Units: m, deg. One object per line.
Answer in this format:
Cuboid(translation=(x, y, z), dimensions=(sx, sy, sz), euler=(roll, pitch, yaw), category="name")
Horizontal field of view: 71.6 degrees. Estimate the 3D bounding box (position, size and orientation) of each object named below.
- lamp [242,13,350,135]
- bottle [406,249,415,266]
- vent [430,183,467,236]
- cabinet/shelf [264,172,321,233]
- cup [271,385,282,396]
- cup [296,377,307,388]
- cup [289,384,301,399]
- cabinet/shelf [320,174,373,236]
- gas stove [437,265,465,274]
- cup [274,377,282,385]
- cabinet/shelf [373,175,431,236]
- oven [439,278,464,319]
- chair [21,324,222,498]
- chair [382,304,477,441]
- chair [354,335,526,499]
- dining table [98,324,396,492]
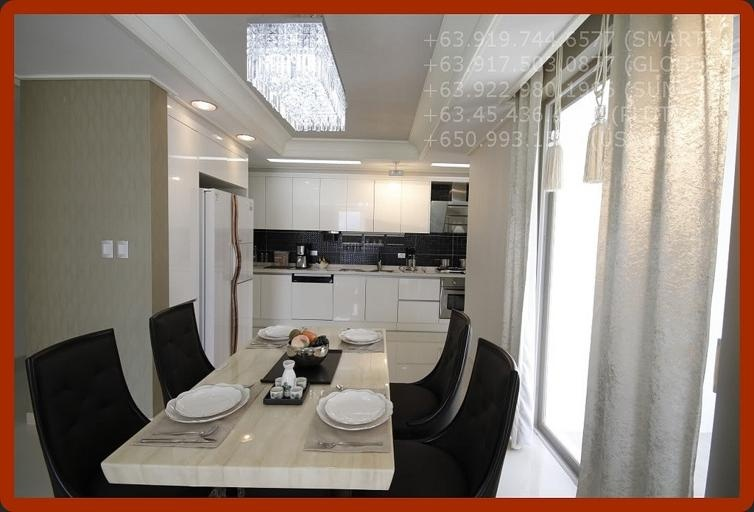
Cuboid(translation=(-0.483, -1.126, 3.237), dimensions=(0.456, 0.557, 0.604), euler=(1, 2, 9), category="lamp")
Cuboid(translation=(0.444, 0.021, 6.968), dimensions=(0.122, 0.254, 0.152), euler=(1, 3, 2), category="bottle")
Cuboid(translation=(0.951, -0.714, 6.834), dimensions=(0.518, 0.734, 0.363), euler=(2, 34, 6), category="vent")
Cuboid(translation=(-1.085, -0.726, 6.672), dimensions=(0.672, 0.654, 0.215), euler=(1, 8, 5), category="cabinet/shelf")
Cuboid(translation=(-0.513, 0.687, 2.659), dimensions=(0.046, 0.035, 0.047), euler=(0, -7, 0), category="cup")
Cuboid(translation=(-0.397, 0.661, 2.743), dimensions=(0.048, 0.036, 0.038), euler=(-8, 13, -31), category="cup")
Cuboid(translation=(-0.418, 0.689, 2.663), dimensions=(0.044, 0.042, 0.057), euler=(5, 12, 19), category="cup")
Cuboid(translation=(-0.401, -0.693, 6.862), dimensions=(0.726, 0.699, 0.364), euler=(2, 16, -1), category="cabinet/shelf")
Cuboid(translation=(0.943, 0.177, 6.759), dimensions=(0.336, 0.065, 0.493), euler=(1, 1, 4), category="gas stove")
Cuboid(translation=(-0.514, 0.649, 2.727), dimensions=(0.031, 0.042, 0.042), euler=(1, -14, -1), category="cup")
Cuboid(translation=(0.342, -0.645, 6.855), dimensions=(0.782, 0.700, 0.282), euler=(2, 4, 17), category="cabinet/shelf")
Cuboid(translation=(1.019, 0.545, 6.562), dimensions=(0.392, 0.594, 0.411), euler=(0, 6, 15), category="oven")
Cuboid(translation=(-1.193, 0.807, 3.023), dimensions=(0.917, 1.173, 0.792), euler=(1, 3, -1), category="chair")
Cuboid(translation=(0.345, 0.727, 3.404), dimensions=(0.696, 0.862, 0.596), euler=(1, 6, 4), category="chair")
Cuboid(translation=(0.297, 0.762, 3.022), dimensions=(0.867, 1.121, 0.757), euler=(2, 2, 5), category="chair")
Cuboid(translation=(-0.556, 0.830, 2.669), dimensions=(1.264, 0.389, 0.809), euler=(1, 2, 0), category="dining table")
